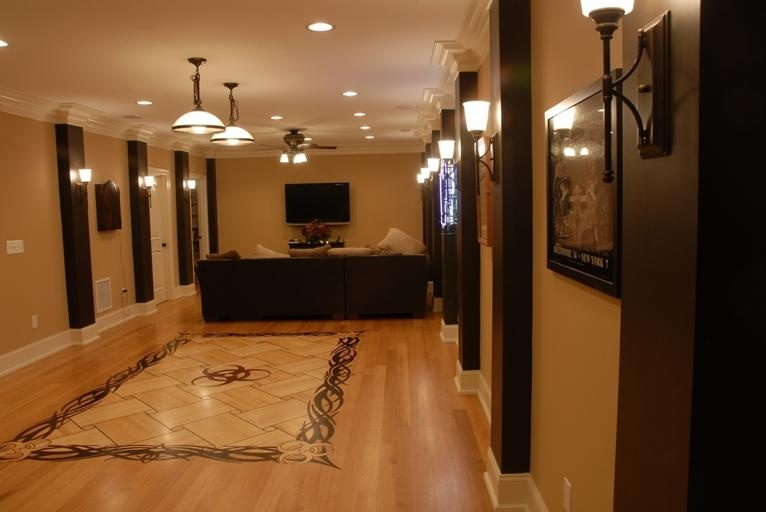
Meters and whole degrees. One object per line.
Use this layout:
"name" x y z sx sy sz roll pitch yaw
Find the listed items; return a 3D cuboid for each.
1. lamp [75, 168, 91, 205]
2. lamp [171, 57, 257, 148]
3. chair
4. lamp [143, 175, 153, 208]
"lamp" -3.571 -0.840 6.535 0.156 0.430 0.300 -5 11 -22
"lamp" -1.649 -1.556 5.361 0.335 0.499 0.875 1 2 11
"chair" 0.030 0.368 7.451 0.836 0.670 0.833 0 4 3
"lamp" -3.508 -0.971 8.198 0.122 0.490 0.694 -5 11 -23
